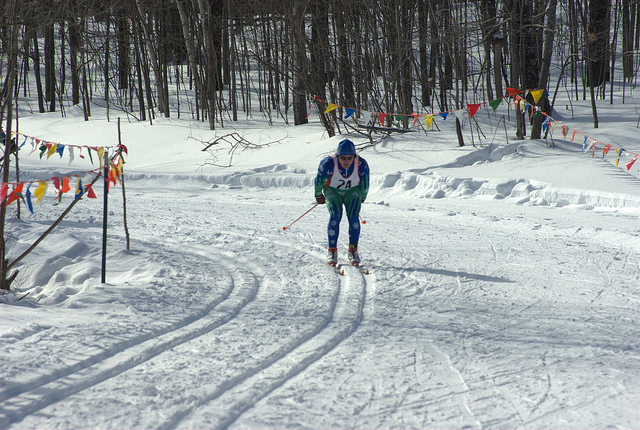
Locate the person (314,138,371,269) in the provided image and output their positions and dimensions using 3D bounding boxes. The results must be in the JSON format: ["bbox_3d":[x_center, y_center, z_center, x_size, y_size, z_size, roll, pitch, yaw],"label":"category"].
[{"bbox_3d":[0.396,-0.199,11.319,0.906,2.101,0.606,-2,10,-1],"label":"person"}]

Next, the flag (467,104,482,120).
[{"bbox_3d":[3.572,-2.437,15.696,0.231,0.359,0.074,-2,37,-10],"label":"flag"}]

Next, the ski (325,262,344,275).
[{"bbox_3d":[0.281,0.882,11.113,0.142,0.075,0.189,5,23,-29],"label":"ski"}]

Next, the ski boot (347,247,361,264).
[{"bbox_3d":[0.594,0.674,11.387,0.211,0.249,0.320,-2,10,2],"label":"ski boot"}]

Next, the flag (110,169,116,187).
[{"bbox_3d":[-3.259,-0.601,10.639,0.067,0.198,0.301,-5,11,-17],"label":"flag"}]

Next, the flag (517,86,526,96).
[{"bbox_3d":[6.221,-3.774,20.664,0.157,0.237,1.717,1,11,19],"label":"flag"}]

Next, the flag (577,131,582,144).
[{"bbox_3d":[7.254,-2.140,18.824,0.051,0.099,0.676,9,55,14],"label":"flag"}]
